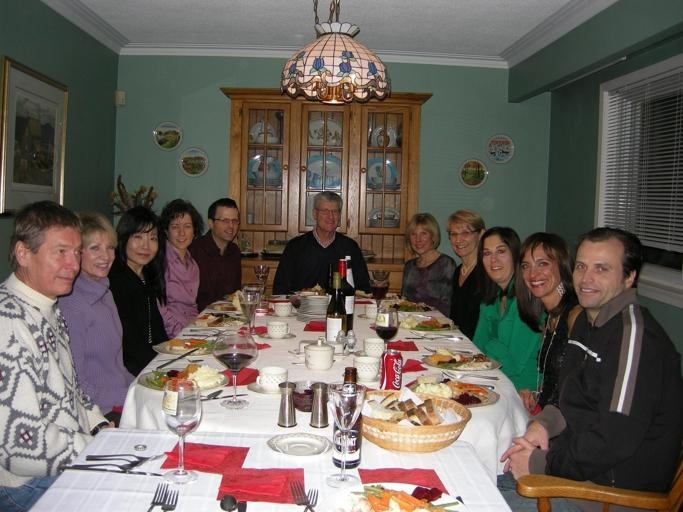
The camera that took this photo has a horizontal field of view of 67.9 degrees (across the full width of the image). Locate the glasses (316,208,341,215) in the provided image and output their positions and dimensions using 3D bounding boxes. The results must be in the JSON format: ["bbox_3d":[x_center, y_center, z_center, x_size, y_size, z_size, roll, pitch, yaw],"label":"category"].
[{"bbox_3d":[-0.083,-0.339,3.957,0.203,0.049,0.081,-1,6,-31],"label":"glasses"}]

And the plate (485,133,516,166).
[{"bbox_3d":[1.632,-1.099,5.210,0.287,0.286,0.020,1,6,-7],"label":"plate"}]

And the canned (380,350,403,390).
[{"bbox_3d":[0.173,0.401,1.770,0.078,0.146,0.248,2,5,6],"label":"canned"}]

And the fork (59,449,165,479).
[{"bbox_3d":[-0.560,0.513,1.255,0.204,0.023,0.074,2,12,-2],"label":"fork"}]

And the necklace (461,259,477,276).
[{"bbox_3d":[0.854,0.072,3.442,0.091,0.045,0.123,-2,32,27],"label":"necklace"}]
